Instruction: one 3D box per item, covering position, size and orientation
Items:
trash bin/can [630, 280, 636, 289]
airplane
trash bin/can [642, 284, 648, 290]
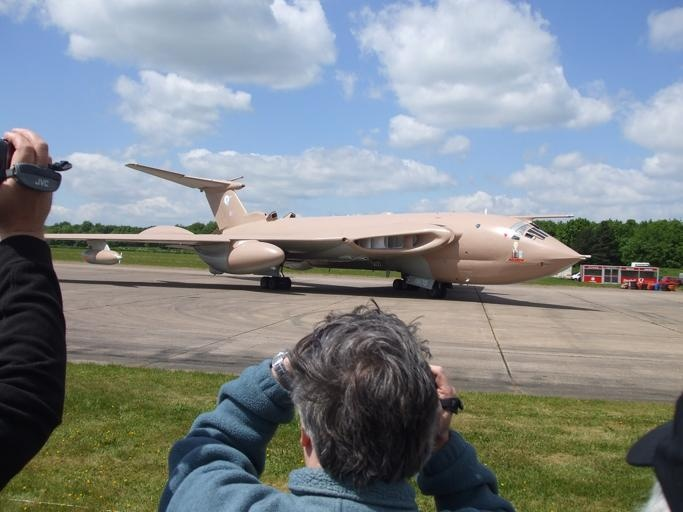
[{"bbox_3d":[24.593,2.412,41.262,0.642,0.562,0.344,-8,-13,44],"label":"trash bin/can"},{"bbox_3d":[0.299,-1.128,24.191,20.646,5.928,6.916,2,2,16],"label":"airplane"},{"bbox_3d":[25.672,2.578,41.381,0.470,0.392,0.233,-1,-6,0],"label":"trash bin/can"}]
